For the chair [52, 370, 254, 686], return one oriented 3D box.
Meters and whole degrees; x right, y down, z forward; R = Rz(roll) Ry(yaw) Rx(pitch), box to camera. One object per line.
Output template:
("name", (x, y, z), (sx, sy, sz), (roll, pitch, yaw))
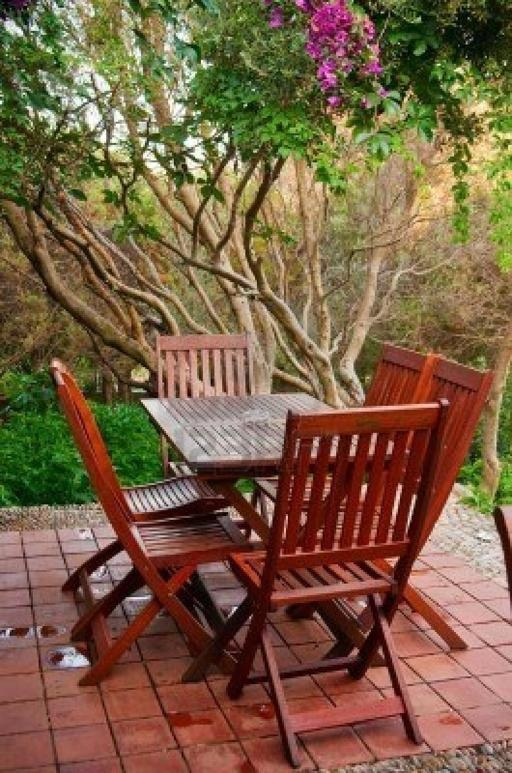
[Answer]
("chair", (-0.339, 0.376, 2.330), (0.863, 1.254, 0.860), (-3, 10, -12))
